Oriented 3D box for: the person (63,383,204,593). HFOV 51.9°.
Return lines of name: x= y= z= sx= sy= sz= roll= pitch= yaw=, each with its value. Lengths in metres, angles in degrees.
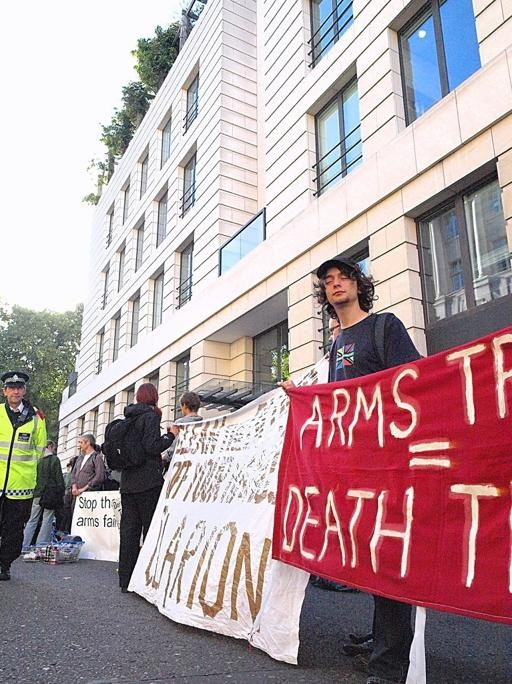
person: x=-1.080 y=1.402 z=5.358 sx=0.635 sy=2.022 sz=0.901 roll=-7 pitch=-12 yaw=28
